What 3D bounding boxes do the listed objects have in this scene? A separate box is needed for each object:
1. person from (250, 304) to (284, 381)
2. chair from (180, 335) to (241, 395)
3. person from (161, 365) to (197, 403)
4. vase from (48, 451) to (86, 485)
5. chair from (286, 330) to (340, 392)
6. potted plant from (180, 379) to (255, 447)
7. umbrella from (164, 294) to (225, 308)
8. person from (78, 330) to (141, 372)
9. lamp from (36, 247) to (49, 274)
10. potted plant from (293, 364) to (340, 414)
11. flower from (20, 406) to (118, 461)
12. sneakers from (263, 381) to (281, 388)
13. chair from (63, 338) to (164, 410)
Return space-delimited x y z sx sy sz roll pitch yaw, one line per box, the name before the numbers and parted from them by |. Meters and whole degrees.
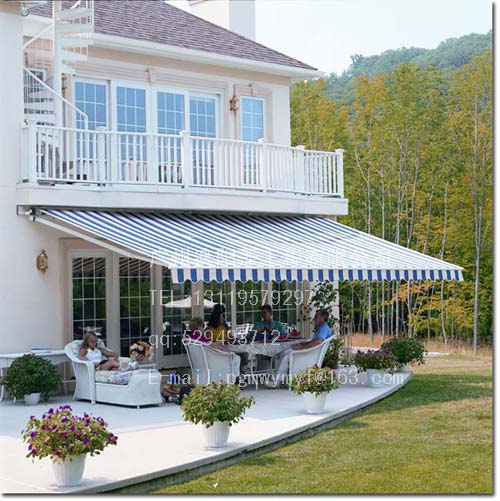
person | 0.416 1.987 18.602 0.978 1.213 0.657 2 -17 -9
chair | -0.702 2.340 15.916 1.027 1.009 0.930 -1 -2 -20
person | -1.375 2.689 15.310 0.627 0.798 0.602 14 18 6
vase | -2.230 2.696 9.599 0.473 0.404 0.518 1 -6 9
chair | 1.176 2.332 16.805 0.989 1.103 0.948 3 1 41
potted plant | -0.508 2.443 11.541 0.845 0.922 1.011 -2 7 -9
umbrella | -1.548 1.386 20.133 0.266 0.357 1.579 -5 -3 43
person | -2.825 2.076 15.468 1.448 0.860 0.965 -4 -3 35
lamp | -4.380 0.256 16.381 0.270 0.483 0.121 -2 -2 -27
potted plant | 1.122 2.520 13.926 0.803 0.773 0.721 0 -2 -22
flower | -2.152 2.245 9.648 0.922 0.653 0.873 -1 -13 9
sneakers | 0.514 2.986 17.150 0.426 0.187 0.147 4 -4 5
chair | -2.555 2.507 15.094 1.441 0.873 1.037 -6 -9 32
